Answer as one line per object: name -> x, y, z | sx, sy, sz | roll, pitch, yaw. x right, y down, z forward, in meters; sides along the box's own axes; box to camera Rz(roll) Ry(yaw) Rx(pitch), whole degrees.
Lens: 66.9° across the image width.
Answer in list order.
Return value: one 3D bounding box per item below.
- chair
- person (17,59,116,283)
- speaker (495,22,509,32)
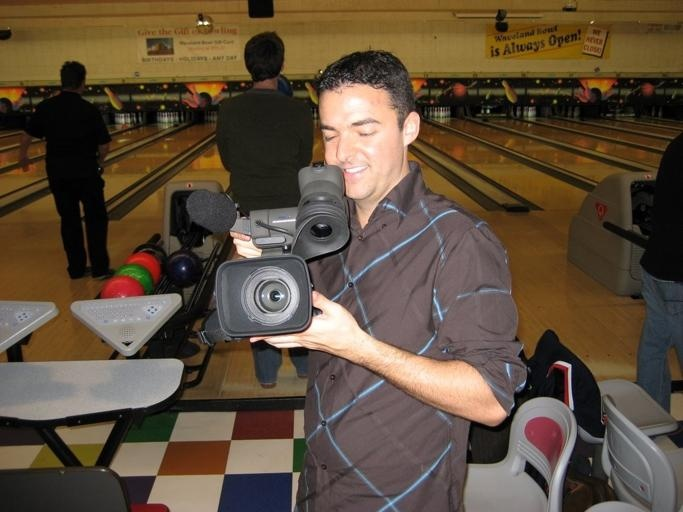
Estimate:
chair -> 0.998, 0.553, 2.224 | 0.630, 0.944, 0.662 | 2, 8, 31
person -> -1.995, -0.590, 3.812 | 0.496, 1.561, 0.334 | 4, 19, 13
speaker -> 3.083, -4.364, 9.861 | 0.231, 0.145, 1.238 | 6, 21, 15
